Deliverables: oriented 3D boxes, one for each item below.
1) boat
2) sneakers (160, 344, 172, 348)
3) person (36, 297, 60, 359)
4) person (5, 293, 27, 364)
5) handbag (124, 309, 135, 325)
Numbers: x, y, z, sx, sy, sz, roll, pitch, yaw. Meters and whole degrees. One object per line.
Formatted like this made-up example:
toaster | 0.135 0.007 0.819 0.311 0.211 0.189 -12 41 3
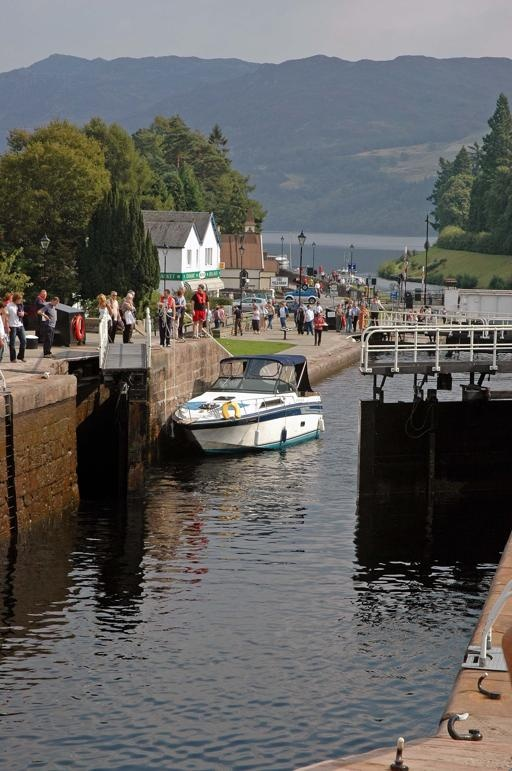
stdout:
boat | -0.257 0.496 31.322 1.437 2.294 4.928 5 9 30
sneakers | -2.344 -1.040 32.818 0.117 0.106 0.296 1 4 11
person | -4.724 -1.332 28.803 0.387 1.332 0.925 0 8 -9
person | -5.358 -1.307 28.276 0.409 1.508 1.371 -1 8 -11
handbag | -3.337 -1.816 33.464 0.197 0.418 0.773 2 8 8
